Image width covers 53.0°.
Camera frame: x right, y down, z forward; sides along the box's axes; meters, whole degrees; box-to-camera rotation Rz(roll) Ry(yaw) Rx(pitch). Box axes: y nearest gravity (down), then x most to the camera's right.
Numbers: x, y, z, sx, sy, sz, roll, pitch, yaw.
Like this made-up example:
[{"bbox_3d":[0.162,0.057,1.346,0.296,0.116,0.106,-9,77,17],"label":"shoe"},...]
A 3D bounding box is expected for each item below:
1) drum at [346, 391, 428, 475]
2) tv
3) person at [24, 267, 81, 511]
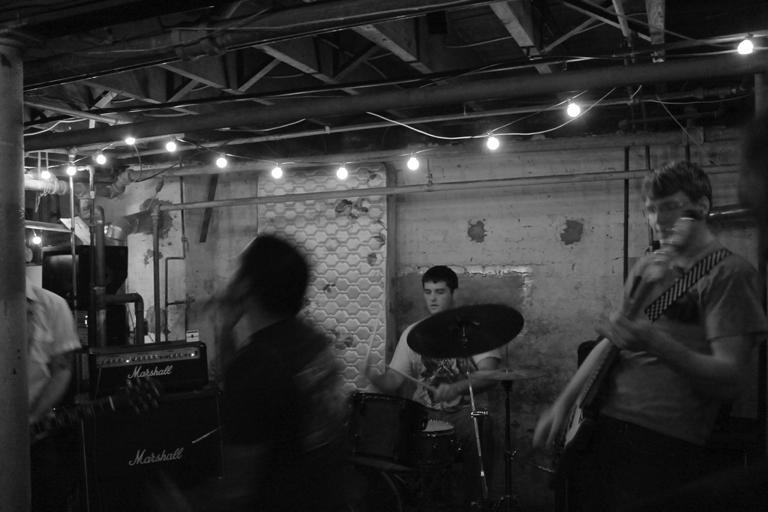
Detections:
[{"bbox_3d":[0.142,1.316,5.935,0.650,0.398,0.613,8,-12,2],"label":"drum"},{"bbox_3d":[-3.404,0.319,8.957,1.074,0.977,0.733,-4,-6,38],"label":"tv"},{"bbox_3d":[-2.464,1.065,5.698,0.368,1.792,0.721,3,-3,-22],"label":"person"}]
